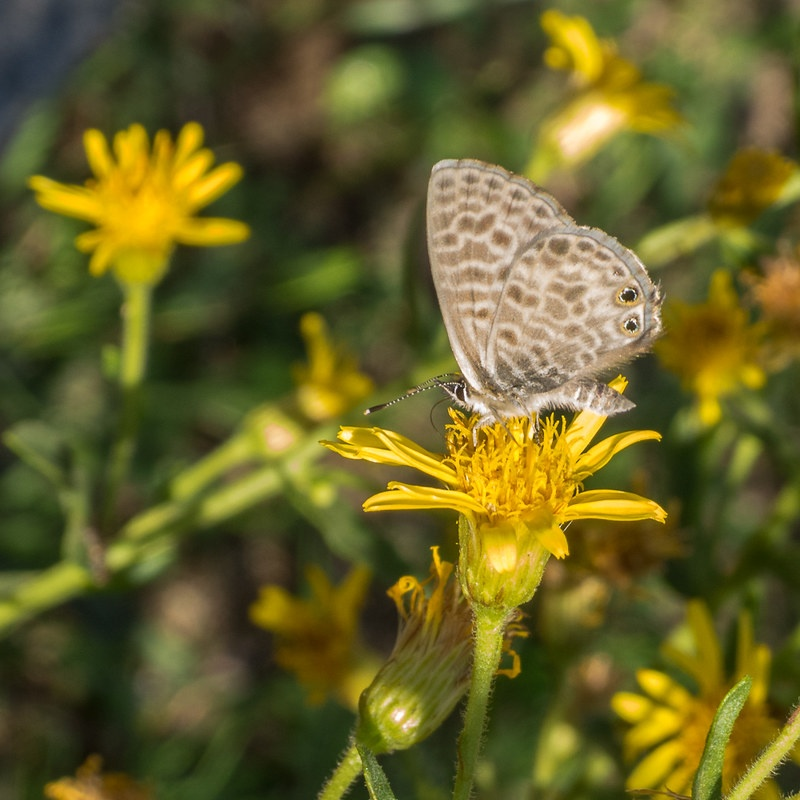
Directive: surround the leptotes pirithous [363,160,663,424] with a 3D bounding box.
[{"bbox_3d":[0.151,-0.072,1.272,0.393,0.388,0.263,0,64,21],"label":"leptotes pirithous"}]
